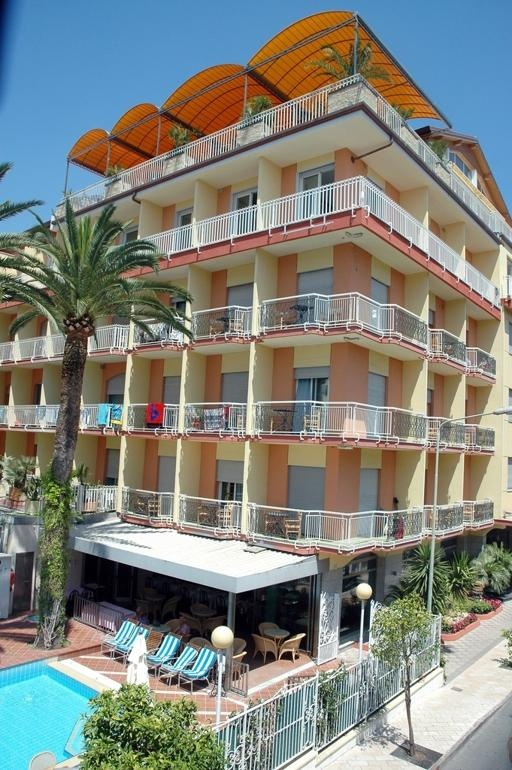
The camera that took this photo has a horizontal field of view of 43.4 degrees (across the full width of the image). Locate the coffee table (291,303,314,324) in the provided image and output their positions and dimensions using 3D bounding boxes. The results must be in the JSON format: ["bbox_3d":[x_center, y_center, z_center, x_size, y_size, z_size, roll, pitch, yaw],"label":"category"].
[{"bbox_3d":[1.423,-2.135,19.664,0.653,0.621,0.456,2,-10,8],"label":"coffee table"}]

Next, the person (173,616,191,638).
[{"bbox_3d":[-2.037,6.764,17.986,0.419,0.756,0.568,18,-27,-28],"label":"person"}]

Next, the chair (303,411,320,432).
[{"bbox_3d":[1.710,1.096,19.312,0.497,0.719,0.856,2,-10,5],"label":"chair"}]

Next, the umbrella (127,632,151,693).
[{"bbox_3d":[-2.352,5.578,13.026,0.420,0.897,1.110,5,-10,-8],"label":"umbrella"}]
